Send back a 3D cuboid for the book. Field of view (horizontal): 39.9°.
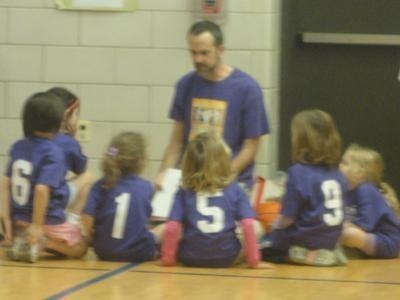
[{"bbox_3d":[-0.230,0.294,3.663,0.076,0.277,0.308,19,25,9],"label":"book"}]

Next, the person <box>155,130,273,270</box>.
[{"bbox_3d":[0.138,0.266,3.720,1.061,1.082,0.715,1,5,10],"label":"person"}]

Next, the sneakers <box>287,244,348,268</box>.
[{"bbox_3d":[0.767,0.706,3.645,0.275,0.095,0.163,0,-2,2],"label":"sneakers"}]

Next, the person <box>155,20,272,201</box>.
[{"bbox_3d":[0.065,-0.231,3.677,0.792,1.167,0.719,3,18,16],"label":"person"}]

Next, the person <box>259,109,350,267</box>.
[{"bbox_3d":[0.721,0.249,3.651,0.541,1.016,0.220,4,5,14],"label":"person"}]

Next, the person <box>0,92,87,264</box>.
[{"bbox_3d":[-1.022,0.185,3.675,0.563,1.114,0.225,3,5,-10],"label":"person"}]
